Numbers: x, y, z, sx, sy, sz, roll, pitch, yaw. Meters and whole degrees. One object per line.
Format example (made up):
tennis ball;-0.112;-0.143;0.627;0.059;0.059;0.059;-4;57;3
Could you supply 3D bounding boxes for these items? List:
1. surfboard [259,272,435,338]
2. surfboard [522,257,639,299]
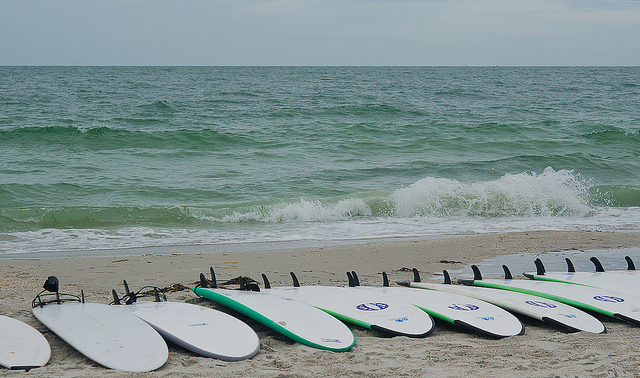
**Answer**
surfboard;0.856;3.800;33.276;5.433;0.616;1.168;10;24;27
surfboard;8.787;2.972;34.090;2.906;0.323;1.507;6;7;33
